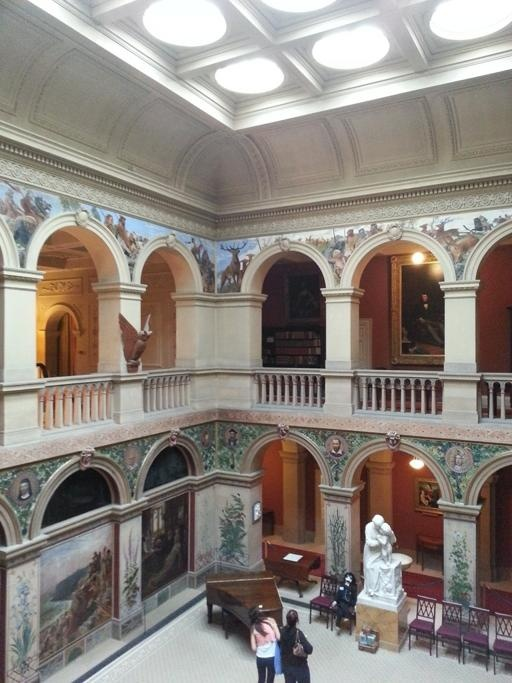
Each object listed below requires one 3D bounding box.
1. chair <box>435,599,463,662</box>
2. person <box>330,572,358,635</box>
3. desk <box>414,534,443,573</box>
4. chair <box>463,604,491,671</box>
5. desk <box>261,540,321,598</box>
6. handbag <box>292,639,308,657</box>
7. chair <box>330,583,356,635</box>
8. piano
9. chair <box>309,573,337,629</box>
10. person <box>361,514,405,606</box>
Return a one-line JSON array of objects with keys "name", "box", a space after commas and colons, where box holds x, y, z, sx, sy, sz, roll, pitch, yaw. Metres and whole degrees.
[{"name": "chair", "box": [3.049, 4.563, 8.164, 0.388, 0.724, 0.678, -2, -4, 21]}, {"name": "person", "box": [1.493, 4.463, 8.768, 0.456, 0.978, 0.388, 1, -11, 26]}, {"name": "desk", "box": [4.089, 4.961, 12.195, 0.842, 0.738, 0.618, 1, -6, 31]}, {"name": "chair", "box": [3.410, 4.549, 8.037, 0.401, 0.743, 0.960, -2, -4, 22]}, {"name": "desk", "box": [0.693, 4.678, 10.539, 1.300, 0.894, 0.781, 1, 2, 30]}, {"name": "handbag", "box": [0.485, 3.427, 5.775, 0.203, 0.193, 0.113, -8, -14, 37]}, {"name": "chair", "box": [1.531, 4.468, 8.799, 0.396, 0.902, 0.535, 4, 7, 13]}, {"name": "piano", "box": [-0.156, 4.479, 8.591, 1.272, 0.688, 1.476, 9, -4, -20]}, {"name": "chair", "box": [1.210, 4.623, 9.218, 0.433, 0.668, 0.454, -4, -6, 45]}, {"name": "person", "box": [2.040, 3.534, 8.492, 0.657, 1.372, 0.450, -2, -4, 13]}]
